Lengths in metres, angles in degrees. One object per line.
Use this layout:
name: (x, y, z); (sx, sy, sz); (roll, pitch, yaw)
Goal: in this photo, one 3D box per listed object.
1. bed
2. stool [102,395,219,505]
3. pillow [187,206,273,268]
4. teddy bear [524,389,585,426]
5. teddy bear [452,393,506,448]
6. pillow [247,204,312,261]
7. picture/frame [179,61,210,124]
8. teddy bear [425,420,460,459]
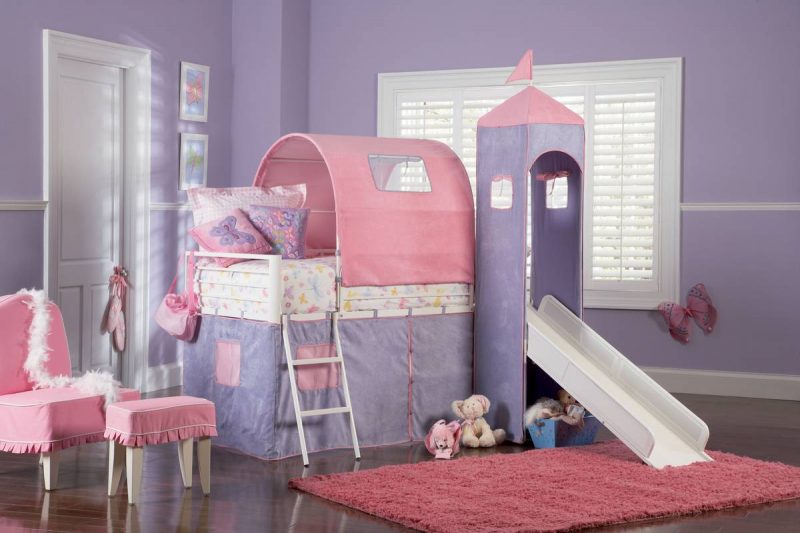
bed: (-0.535, -0.177, 5.112); (1.848, 1.613, 1.457); (0, 0, -36)
stool: (-1.376, 0.887, 3.969); (0.758, 0.680, 0.488); (1, -3, -44)
pillow: (-1.201, -0.240, 4.677); (0.560, 0.310, 0.318); (1, 5, 14)
teddy bear: (1.084, 1.003, 4.698); (0.317, 0.177, 0.242); (-1, 0, -7)
teddy bear: (0.523, 1.064, 4.831); (0.383, 0.390, 0.326); (-3, -3, -18)
pillow: (-0.871, -0.234, 4.703); (0.391, 0.430, 0.149); (0, -4, -13)
picture/frame: (-1.912, -1.605, 6.232); (0.056, 0.520, 0.351); (3, 5, 27)
teddy bear: (0.299, 1.153, 4.543); (0.239, 0.256, 0.243); (-2, -4, 18)
